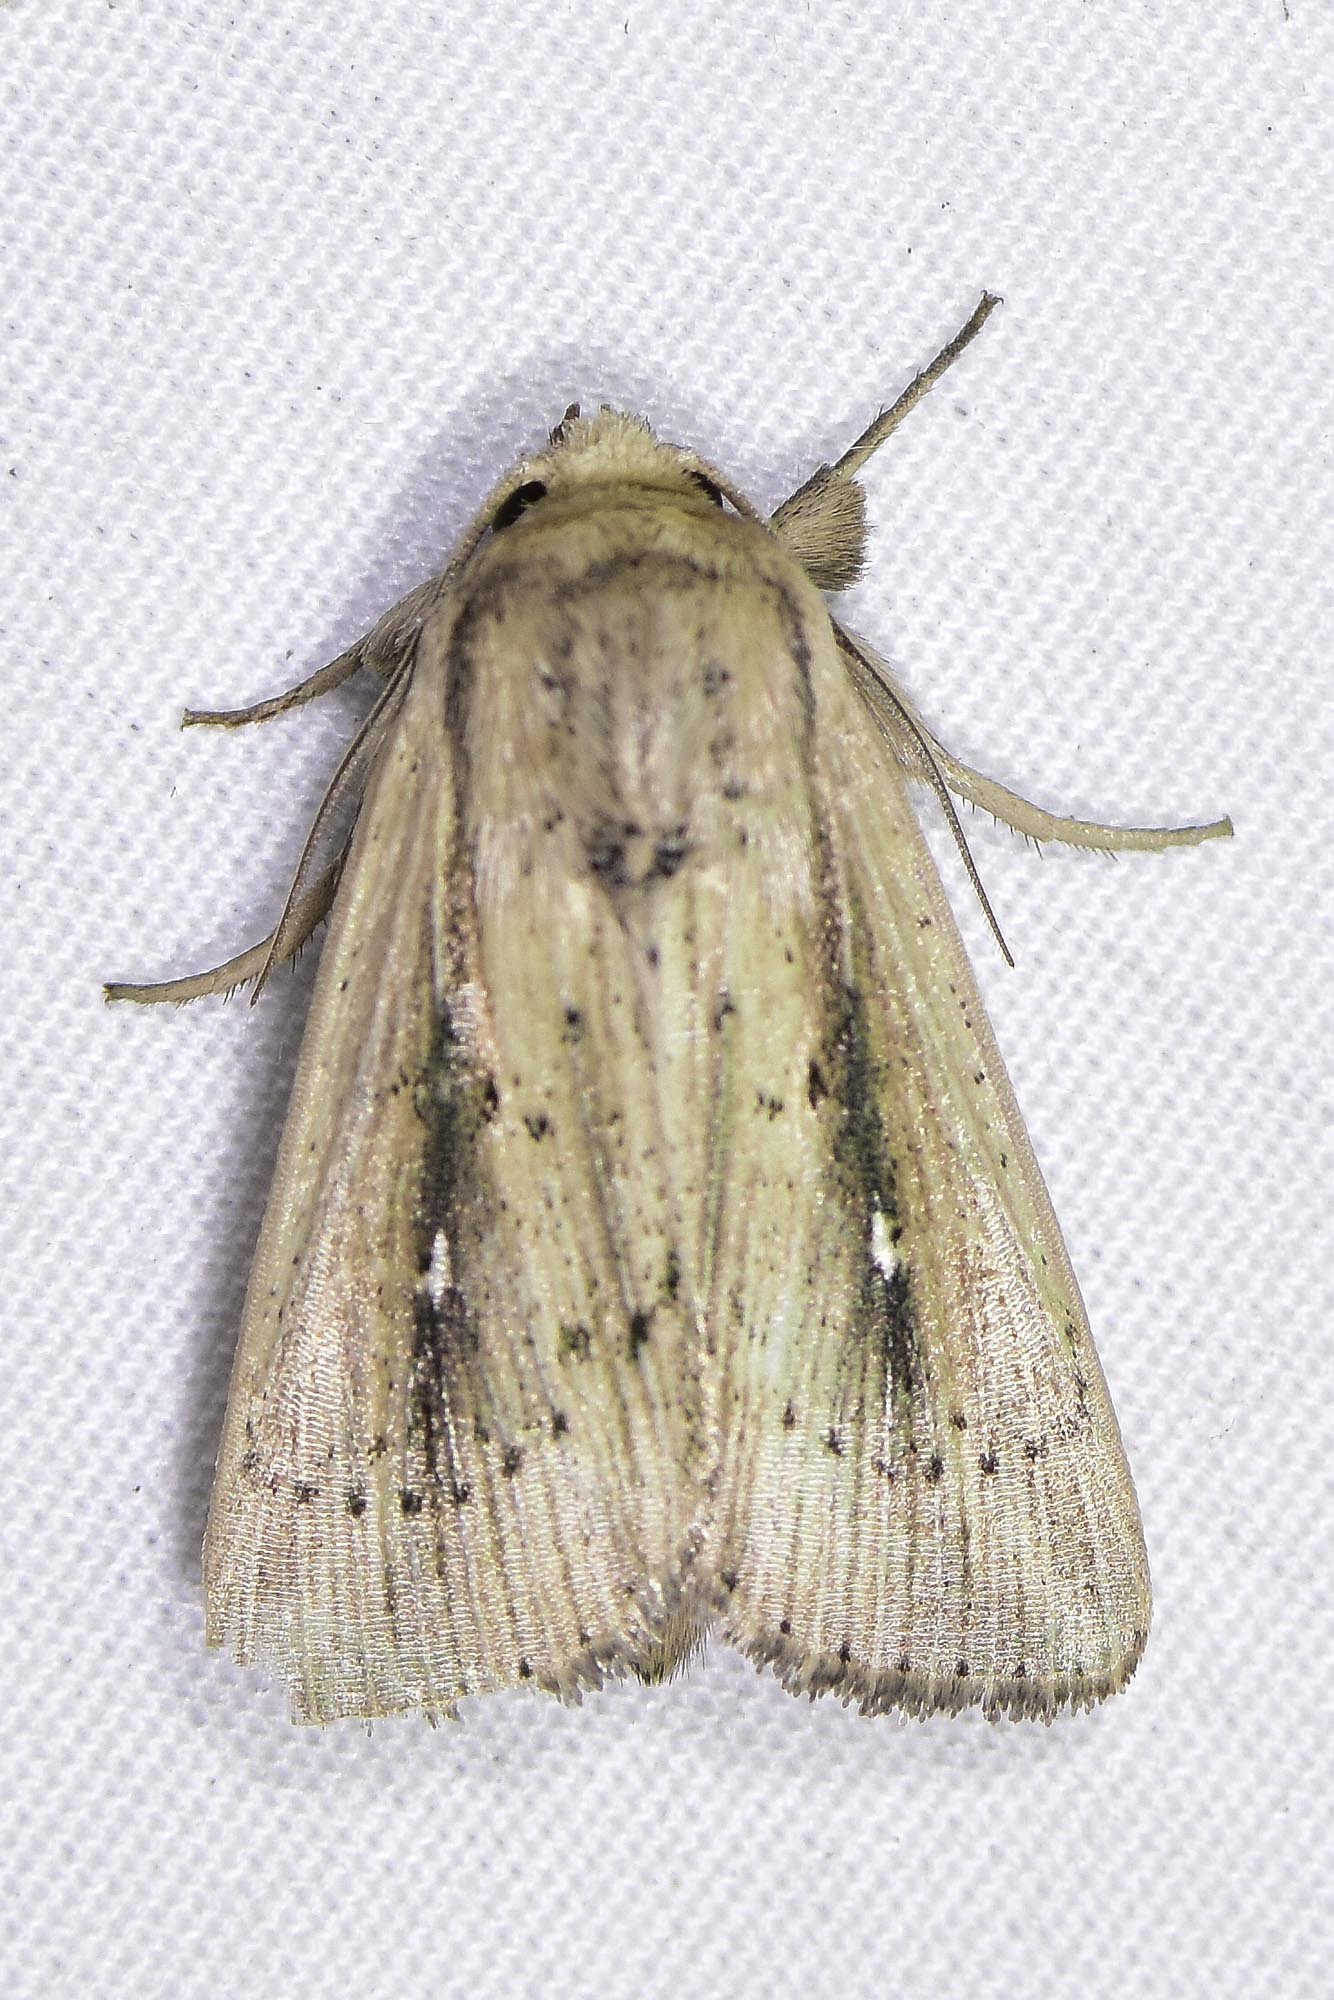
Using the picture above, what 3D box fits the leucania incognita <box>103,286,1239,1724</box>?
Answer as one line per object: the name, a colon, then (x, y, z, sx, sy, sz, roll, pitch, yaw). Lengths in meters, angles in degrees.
leucania incognita: (-0.005, 0.026, 2.091, 0.748, 0.949, 0.250, -4, -1, 2)
